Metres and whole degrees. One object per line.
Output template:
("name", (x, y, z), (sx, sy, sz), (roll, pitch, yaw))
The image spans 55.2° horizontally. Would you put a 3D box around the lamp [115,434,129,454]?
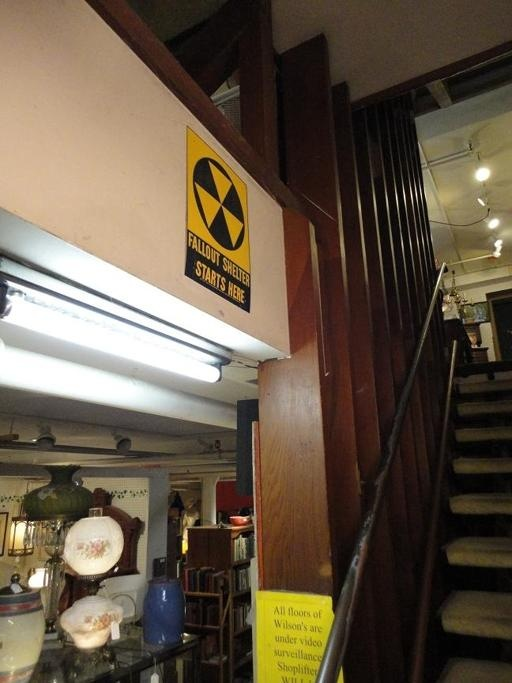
("lamp", (-1.139, 0.863, 4.205), (0.114, 0.134, 0.383), (0, -15, -18))
